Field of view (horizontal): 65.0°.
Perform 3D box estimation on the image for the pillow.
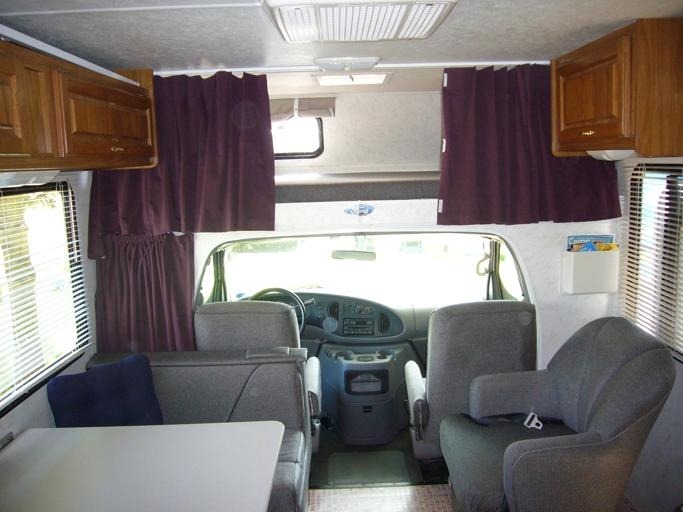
[{"bbox_3d":[-1.390,0.739,3.139,0.421,0.555,0.453,-8,1,-40],"label":"pillow"}]
